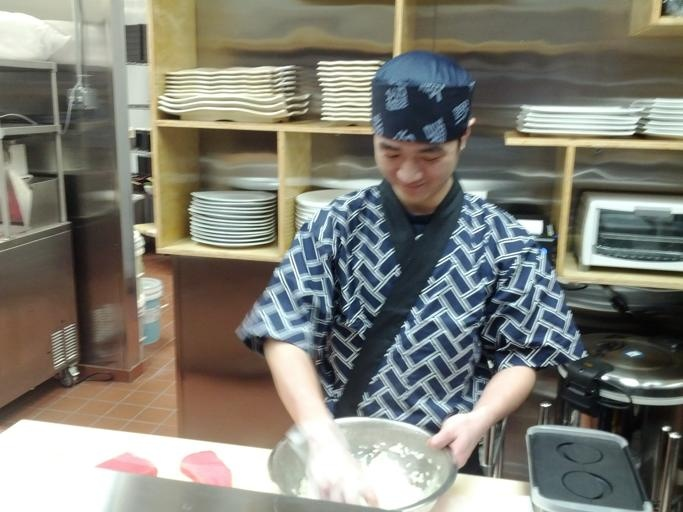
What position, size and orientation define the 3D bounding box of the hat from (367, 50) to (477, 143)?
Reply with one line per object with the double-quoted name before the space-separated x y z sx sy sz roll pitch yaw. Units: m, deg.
"hat" 0.200 -0.388 1.322 0.254 0.176 0.247 10 25 19
